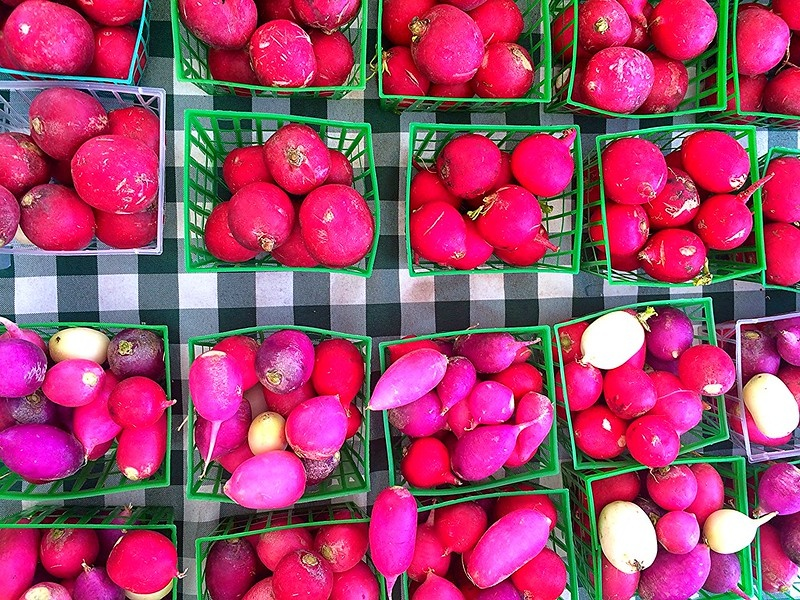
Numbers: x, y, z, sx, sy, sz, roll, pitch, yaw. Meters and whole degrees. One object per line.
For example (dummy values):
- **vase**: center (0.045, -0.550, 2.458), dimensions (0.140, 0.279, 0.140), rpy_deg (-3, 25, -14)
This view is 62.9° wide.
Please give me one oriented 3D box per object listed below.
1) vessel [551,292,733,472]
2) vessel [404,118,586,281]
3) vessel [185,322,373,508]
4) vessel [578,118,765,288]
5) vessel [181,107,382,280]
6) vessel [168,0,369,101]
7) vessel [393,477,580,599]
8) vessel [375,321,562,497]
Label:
- **vessel**: center (0.522, 0.228, 1.460), dimensions (0.313, 0.167, 0.519), rpy_deg (-7, -88, -10)
- **vessel**: center (0.226, -0.225, 1.534), dimensions (0.437, 0.244, 0.365), rpy_deg (-1, -80, -4)
- **vessel**: center (-0.245, 0.203, 1.538), dimensions (0.320, 0.168, 0.528), rpy_deg (0, -92, -21)
- **vessel**: center (0.596, -0.179, 1.533), dimensions (0.312, 0.184, 0.505), rpy_deg (0, -81, -5)
- **vessel**: center (-0.261, -0.275, 1.446), dimensions (0.393, 0.182, 0.390), rpy_deg (-2, -86, -12)
- **vessel**: center (-0.289, -0.546, 1.462), dimensions (0.343, 0.142, 0.284), rpy_deg (-4, -81, -11)
- **vessel**: center (0.220, 0.534, 1.627), dimensions (0.320, 0.228, 0.412), rpy_deg (-2, -93, -11)
- **vessel**: center (0.240, 0.287, 1.580), dimensions (0.308, 0.158, 0.500), rpy_deg (-5, -90, -10)
